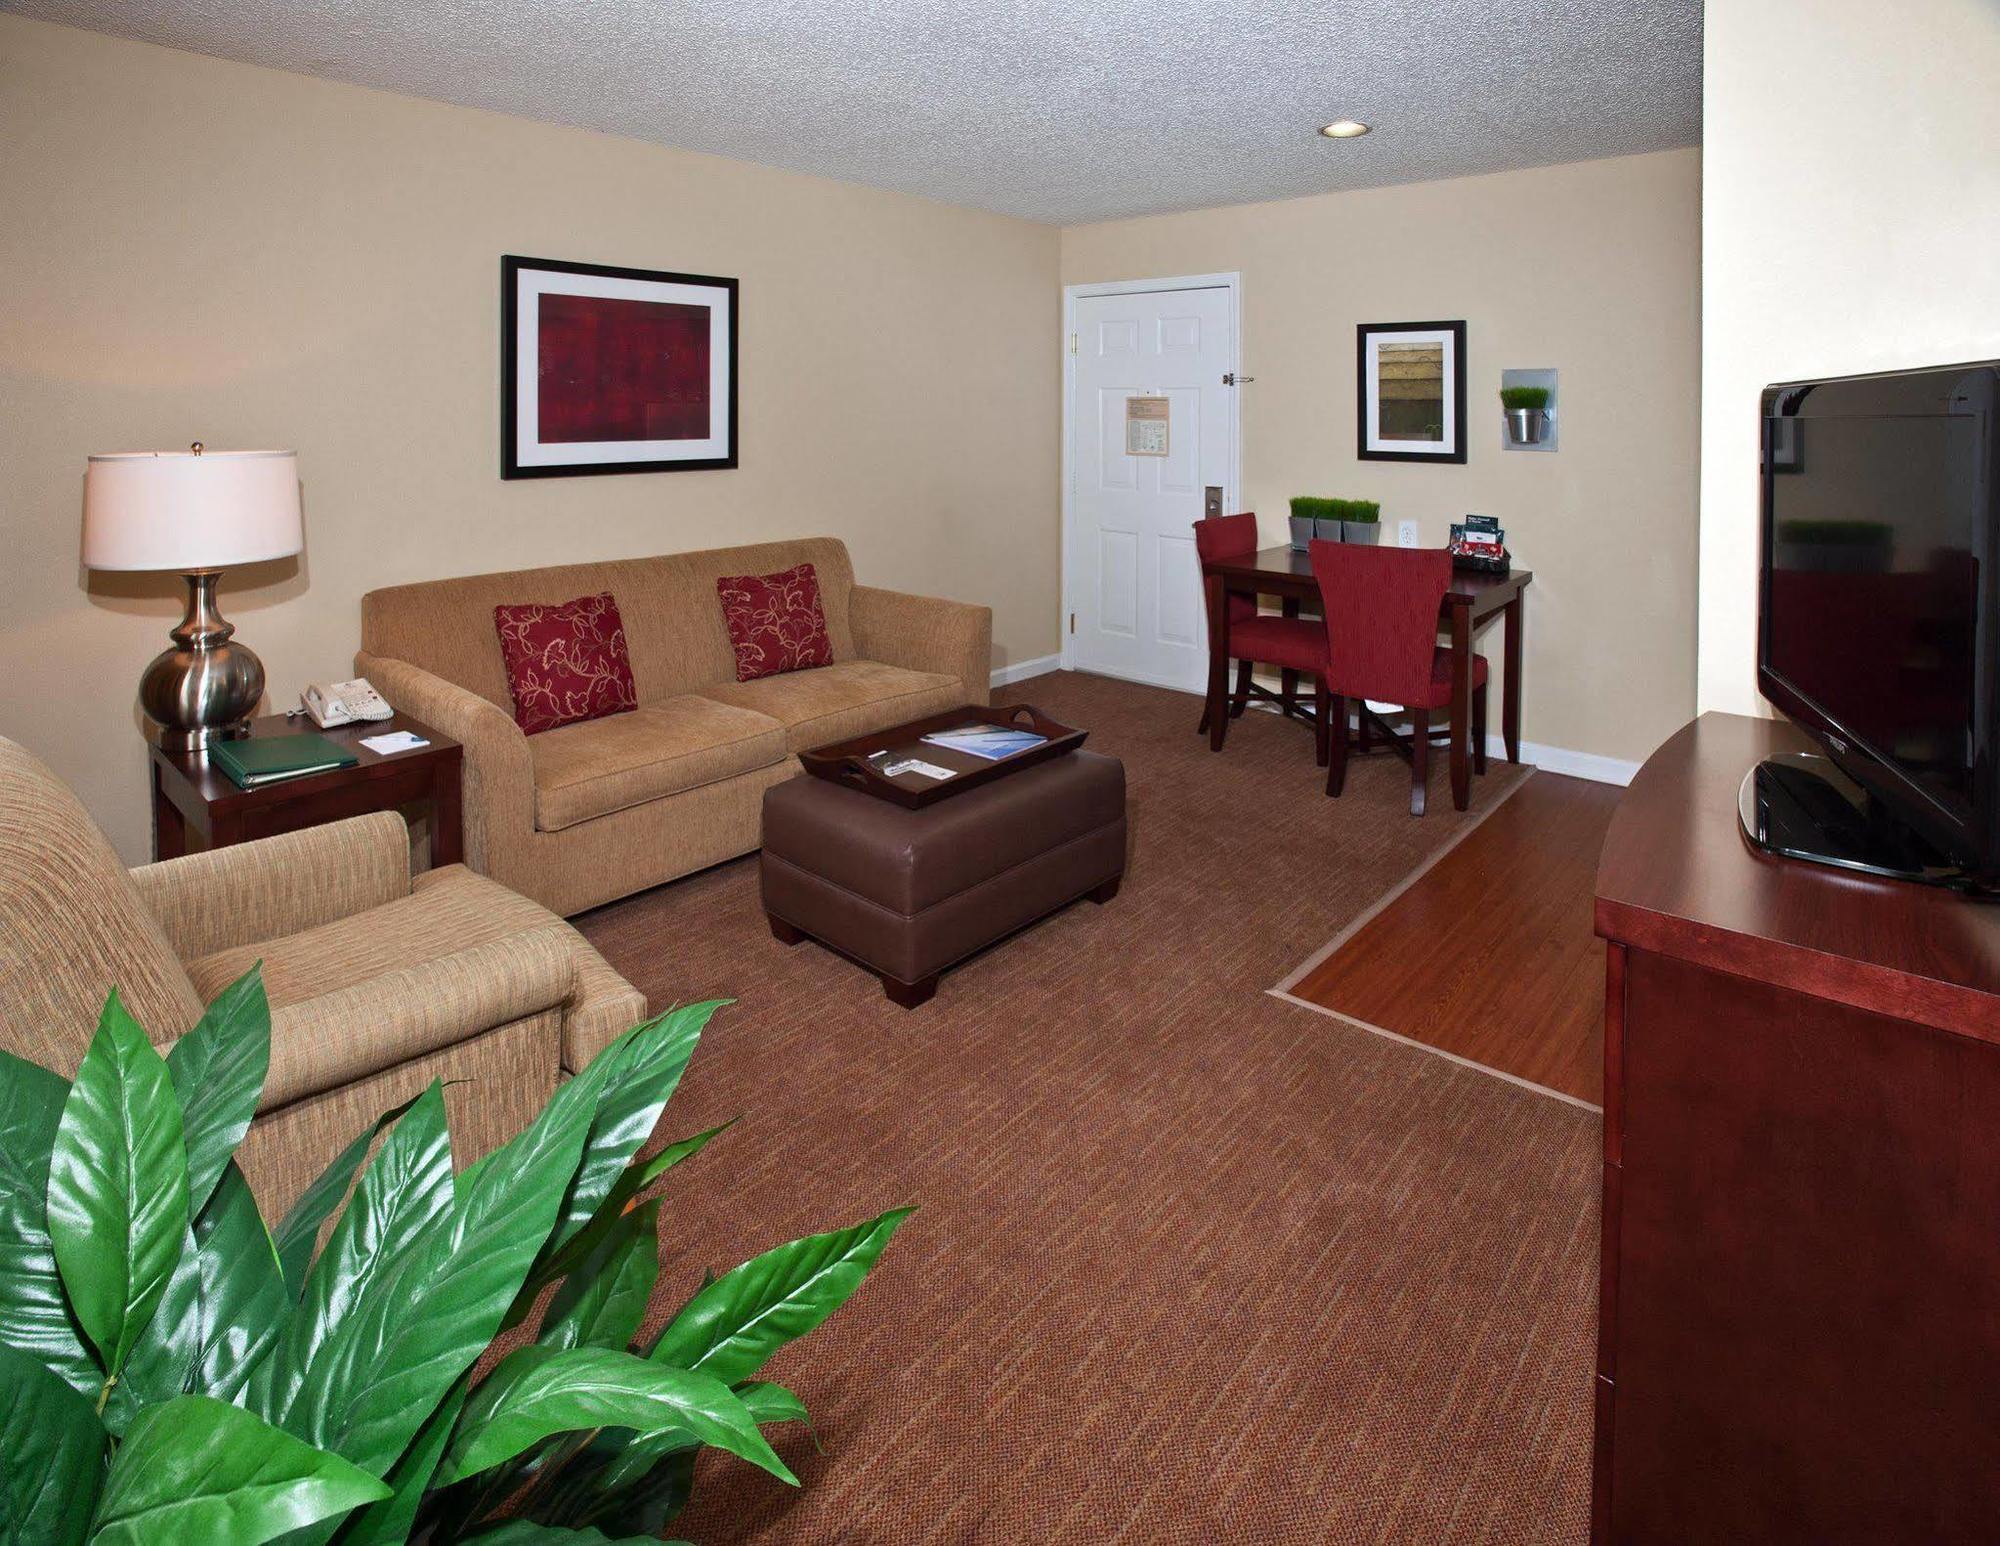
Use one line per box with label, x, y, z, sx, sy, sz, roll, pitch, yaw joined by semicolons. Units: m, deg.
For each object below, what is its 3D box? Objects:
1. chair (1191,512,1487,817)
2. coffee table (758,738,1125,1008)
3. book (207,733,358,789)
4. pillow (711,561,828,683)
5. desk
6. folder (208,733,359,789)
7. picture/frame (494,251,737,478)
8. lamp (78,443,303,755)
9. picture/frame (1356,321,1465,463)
chair;1.351;-0.420;5.113;0.966;0.841;0.481;14;22;42
coffee table;-0.265;0.200;3.550;0.572;0.464;0.859;13;21;37
book;-1.844;-0.043;3.374;0.191;0.058;0.202;17;17;37
pillow;-0.844;-0.574;4.912;0.423;0.418;0.124;-17;4;-44
desk;1.398;-0.555;5.189;1.219;1.239;0.973;10;15;42
folder;-1.844;-0.040;3.371;0.193;0.057;0.203;18;18;38
picture/frame;-1.393;-1.474;4.641;0.029;0.682;0.828;6;11;36
lamp;-2.081;-0.456;3.441;0.417;0.787;0.420;-1;13;10
picture/frame;1.738;-1.627;5.482;0.511;0.712;0.045;9;14;44
